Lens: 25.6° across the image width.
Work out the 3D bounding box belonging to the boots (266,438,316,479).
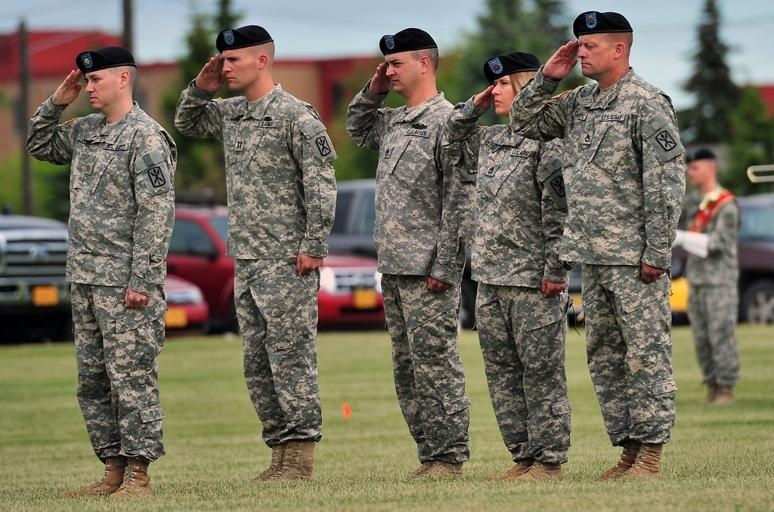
[{"bbox_3d":[-0.779,1.761,14.814,0.580,0.331,0.194,-2,-7,24],"label":"boots"}]

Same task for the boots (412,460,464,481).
[{"bbox_3d":[0.462,1.840,14.731,0.349,0.118,0.171,3,-8,-2],"label":"boots"}]

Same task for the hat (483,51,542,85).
[{"bbox_3d":[1.091,-1.637,14.847,0.421,0.123,0.288,-5,2,-17],"label":"hat"}]

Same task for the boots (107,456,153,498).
[{"bbox_3d":[-2.187,1.870,14.424,0.252,0.320,0.518,2,0,19],"label":"boots"}]

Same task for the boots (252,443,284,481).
[{"bbox_3d":[-0.991,1.822,14.828,0.351,0.228,0.122,-11,-17,27],"label":"boots"}]

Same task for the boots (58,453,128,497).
[{"bbox_3d":[-2.410,1.896,14.598,0.543,0.292,0.172,-13,-11,8],"label":"boots"}]

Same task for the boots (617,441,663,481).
[{"bbox_3d":[2.140,1.733,14.357,0.414,0.313,0.176,-6,3,-27],"label":"boots"}]
